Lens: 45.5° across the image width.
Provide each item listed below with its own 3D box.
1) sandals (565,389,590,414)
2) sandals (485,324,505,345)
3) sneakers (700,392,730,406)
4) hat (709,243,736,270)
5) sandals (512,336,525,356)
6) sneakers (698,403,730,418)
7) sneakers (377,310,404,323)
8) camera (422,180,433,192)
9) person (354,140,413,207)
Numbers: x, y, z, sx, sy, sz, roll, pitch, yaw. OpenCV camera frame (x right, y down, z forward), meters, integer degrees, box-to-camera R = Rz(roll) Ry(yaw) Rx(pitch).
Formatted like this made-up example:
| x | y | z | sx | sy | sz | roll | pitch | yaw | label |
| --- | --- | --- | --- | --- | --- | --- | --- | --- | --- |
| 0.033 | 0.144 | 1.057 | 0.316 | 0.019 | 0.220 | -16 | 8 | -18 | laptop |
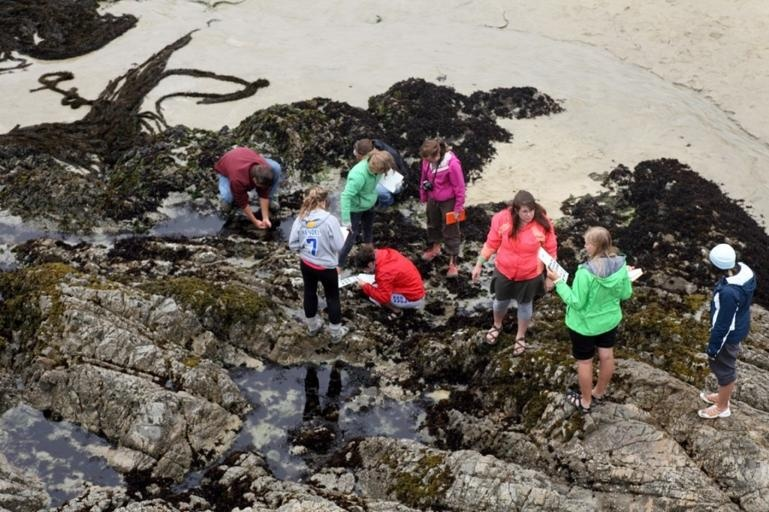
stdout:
| x | y | z | sx | sy | sz | roll | pitch | yaw | label |
| --- | --- | --- | --- | --- | --- | --- | --- | --- | --- |
| 4.145 | 3.191 | 20.047 | 0.273 | 0.299 | 0.658 | -33 | 63 | -9 | sandals |
| 2.527 | 1.819 | 21.445 | 0.213 | 0.166 | 0.618 | 18 | 81 | 16 | sandals |
| 6.936 | 3.063 | 19.631 | 0.349 | 0.130 | 0.186 | 3 | 41 | 6 | sneakers |
| 7.145 | -0.044 | 19.464 | 0.455 | 0.467 | 0.605 | -7 | 18 | 11 | hat |
| 3.084 | 2.090 | 21.067 | 0.175 | 0.197 | 0.519 | 3 | 55 | 10 | sandals |
| 6.963 | 3.330 | 19.509 | 0.653 | 0.282 | 0.273 | 0 | 53 | 10 | sneakers |
| 0.121 | 1.466 | 22.578 | 0.575 | 0.261 | 0.262 | 0 | 3 | 1 | sneakers |
| 1.037 | -1.756 | 22.857 | 0.218 | 0.287 | 0.111 | -10 | 31 | 38 | camera |
| -0.166 | -2.065 | 22.825 | 1.296 | 0.731 | 1.771 | -16 | 77 | -39 | person |
